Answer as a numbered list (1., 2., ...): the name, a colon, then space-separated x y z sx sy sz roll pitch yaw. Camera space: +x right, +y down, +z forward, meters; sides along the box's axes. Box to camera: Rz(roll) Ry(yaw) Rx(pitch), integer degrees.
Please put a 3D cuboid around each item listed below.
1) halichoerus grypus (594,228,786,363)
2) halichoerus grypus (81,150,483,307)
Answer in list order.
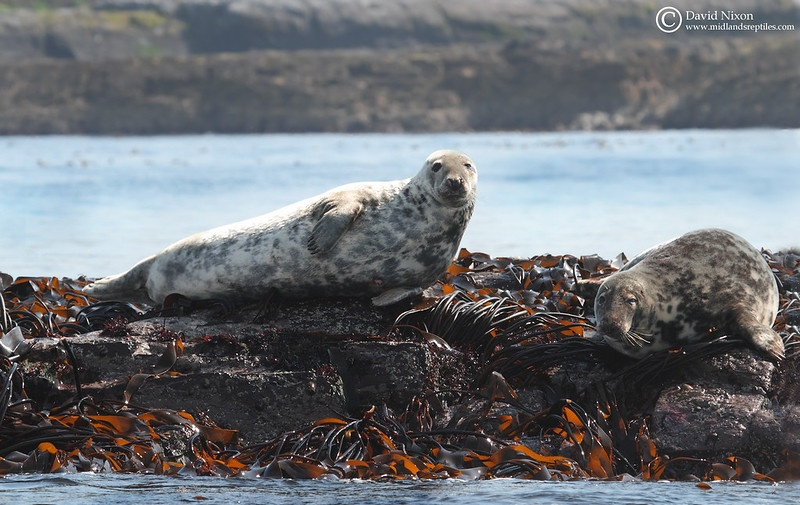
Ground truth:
1. halichoerus grypus: 2.466 0.304 15.073 2.476 0.807 1.969 0 26 4
2. halichoerus grypus: -1.230 -0.074 15.828 4.633 1.256 1.517 -7 -27 26
